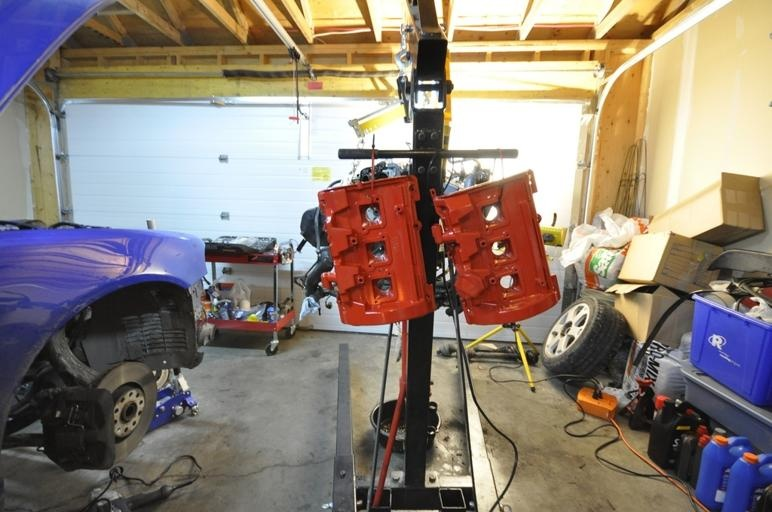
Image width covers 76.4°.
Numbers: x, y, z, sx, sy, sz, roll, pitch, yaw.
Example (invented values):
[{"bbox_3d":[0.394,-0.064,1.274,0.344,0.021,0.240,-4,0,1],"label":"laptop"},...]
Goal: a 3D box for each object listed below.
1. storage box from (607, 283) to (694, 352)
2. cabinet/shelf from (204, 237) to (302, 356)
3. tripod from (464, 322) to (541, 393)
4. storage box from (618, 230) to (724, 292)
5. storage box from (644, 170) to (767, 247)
[{"bbox_3d":[2.720,0.593,5.154,0.721,0.485,0.500,-7,13,-19],"label":"storage box"},{"bbox_3d":[-1.785,0.543,6.240,1.082,1.215,0.757,1,7,3],"label":"cabinet/shelf"},{"bbox_3d":[1.346,1.147,5.852,0.939,0.633,1.009,11,10,21],"label":"tripod"},{"bbox_3d":[3.282,0.068,5.210,0.778,0.492,0.780,18,11,35],"label":"storage box"},{"bbox_3d":[3.264,-0.458,4.982,0.453,0.726,0.884,-4,8,-28],"label":"storage box"}]
